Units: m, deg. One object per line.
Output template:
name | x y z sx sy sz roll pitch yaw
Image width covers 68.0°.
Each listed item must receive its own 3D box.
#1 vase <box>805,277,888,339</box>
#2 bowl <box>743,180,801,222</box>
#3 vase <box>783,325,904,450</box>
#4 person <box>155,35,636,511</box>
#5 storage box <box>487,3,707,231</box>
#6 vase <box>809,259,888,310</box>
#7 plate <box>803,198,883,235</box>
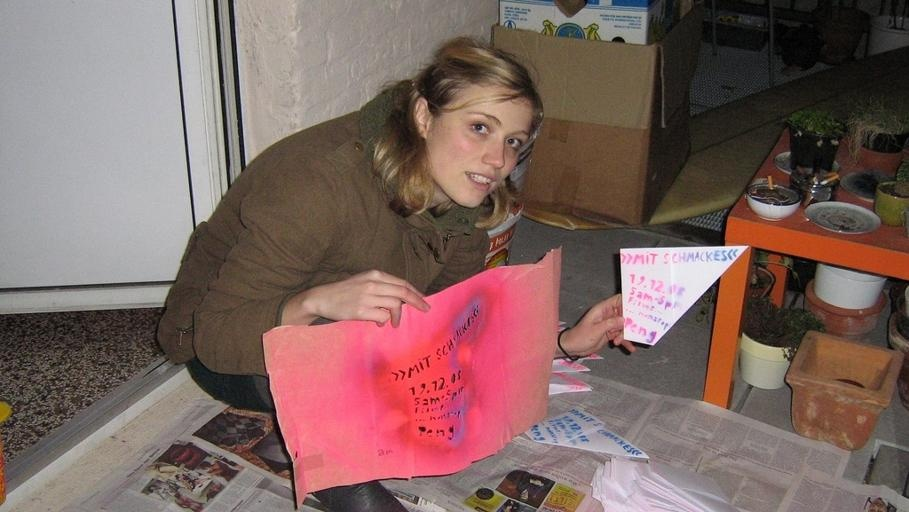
vase | 1.670 0.264 2.852 0.277 0.107 0.294 -4 34 4
bowl | 1.182 -0.203 2.537 0.167 0.080 0.169 1 41 0
vase | 1.443 0.507 2.634 0.413 0.379 0.437 17 42 17
person | -0.373 -0.053 2.292 1.297 1.239 0.635 2 26 5
storage box | 0.848 -0.750 3.841 1.138 1.119 1.134 10 41 19
vase | 1.670 0.136 2.869 0.227 0.141 0.229 23 41 26
plate | 1.437 -0.140 2.497 0.159 0.024 0.161 20 42 27
